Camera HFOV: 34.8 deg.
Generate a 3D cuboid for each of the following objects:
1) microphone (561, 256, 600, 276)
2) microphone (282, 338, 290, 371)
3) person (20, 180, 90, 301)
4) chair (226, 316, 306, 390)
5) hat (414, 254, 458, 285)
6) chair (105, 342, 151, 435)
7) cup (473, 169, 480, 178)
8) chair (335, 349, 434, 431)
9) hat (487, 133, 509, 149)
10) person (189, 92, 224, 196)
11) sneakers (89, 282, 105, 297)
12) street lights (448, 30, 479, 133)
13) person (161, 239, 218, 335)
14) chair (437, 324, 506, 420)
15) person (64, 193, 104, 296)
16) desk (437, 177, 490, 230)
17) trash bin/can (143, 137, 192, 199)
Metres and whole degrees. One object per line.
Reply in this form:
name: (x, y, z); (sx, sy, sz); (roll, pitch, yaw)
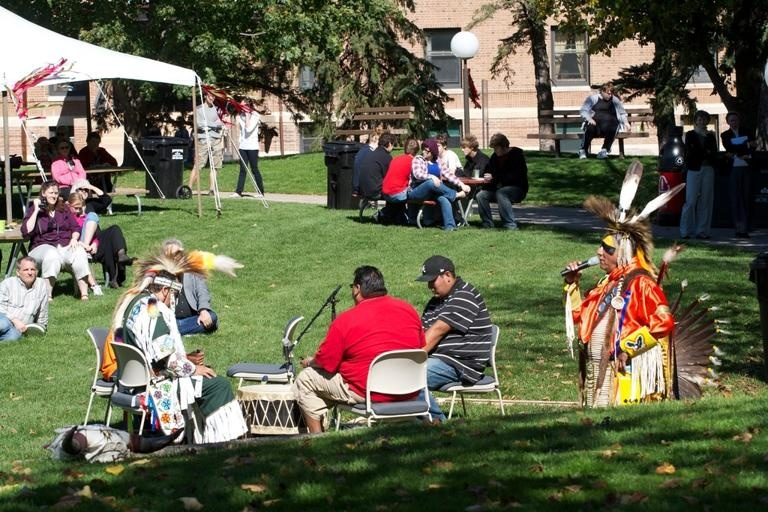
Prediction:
microphone: (3.069, 0.159, 19.059); (0.534, 0.126, 0.117); (-24, 21, 17)
microphone: (-1.339, 1.321, 16.774); (0.082, 0.443, 0.266); (-1, 4, -6)
person: (-5.831, -0.252, 21.885); (0.993, 2.304, 1.203); (0, -8, -42)
chair: (-1.698, 1.367, 17.211); (1.042, 1.134, 0.778); (2, 3, -9)
hat: (0.706, 0.173, 16.996); (0.453, 0.283, 0.337); (-6, 5, -6)
chair: (-3.331, 1.704, 15.957); (0.396, 1.212, 0.677); (-3, 5, -32)
cup: (1.988, -1.797, 26.449); (0.151, 0.174, 0.247); (3, 10, 2)
chair: (-0.121, 1.746, 16.153); (0.928, 1.439, 1.040); (-1, 4, -24)
hat: (2.364, -2.374, 25.164); (0.335, 0.297, 0.429); (-1, 4, 1)
person: (-4.651, -3.048, 32.229); (0.908, 2.791, 0.841); (0, 2, -28)
sneakers: (-5.161, 0.575, 21.979); (0.151, 0.126, 0.284); (-30, 46, -18)
street lights: (1.930, -3.956, 28.823); (0.628, 2.567, 0.673); (-4, 12, -2)
person: (-3.360, 0.503, 19.848); (1.057, 1.475, 0.842); (-9, 10, -8)
chair: (1.162, 1.661, 17.088); (0.831, 1.352, 0.768); (-2, 2, -32)
person: (-5.419, -0.266, 22.169); (0.686, 2.018, 1.070); (-2, 7, -28)
desk: (1.730, -1.051, 26.442); (1.052, 1.079, 1.190); (-6, 5, 7)
trash bin/can: (-5.649, -2.341, 31.479); (1.194, 2.219, 1.400); (-1, 7, -14)
